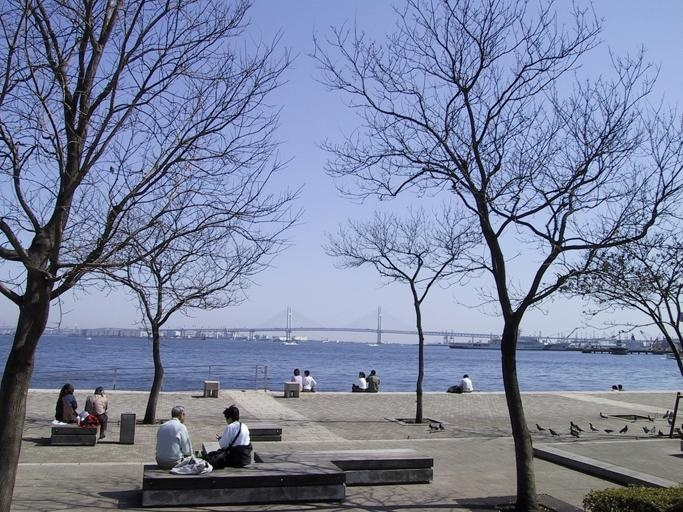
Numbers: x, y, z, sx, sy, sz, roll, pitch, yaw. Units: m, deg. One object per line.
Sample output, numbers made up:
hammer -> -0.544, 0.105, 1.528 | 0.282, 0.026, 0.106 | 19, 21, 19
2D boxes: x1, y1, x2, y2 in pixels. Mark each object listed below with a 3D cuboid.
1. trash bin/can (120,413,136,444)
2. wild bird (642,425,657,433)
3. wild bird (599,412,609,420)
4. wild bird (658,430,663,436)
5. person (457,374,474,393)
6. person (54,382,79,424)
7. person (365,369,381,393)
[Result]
trash bin/can -> -5.311, 4.306, 16.837 | 0.326, 0.739, 0.366 | 2, -14, -16
wild bird -> 9.905, 5.591, 21.827 | 0.193, 0.127, 0.282 | 28, 6, 42
wild bird -> 9.539, 5.847, 24.679 | 0.224, 0.134, 0.307 | 6, -3, -15
wild bird -> 9.714, 5.398, 20.663 | 0.149, 0.090, 0.158 | -1, -9, 13
person -> 5.828, 5.962, 31.714 | 0.591, 0.935, 1.846 | -4, -16, 10
person -> -6.952, 3.782, 17.268 | 0.548, 1.007, 0.862 | 4, -16, -23
person -> 1.412, 5.907, 31.880 | 0.647, 1.226, 1.178 | 0, -3, 22
